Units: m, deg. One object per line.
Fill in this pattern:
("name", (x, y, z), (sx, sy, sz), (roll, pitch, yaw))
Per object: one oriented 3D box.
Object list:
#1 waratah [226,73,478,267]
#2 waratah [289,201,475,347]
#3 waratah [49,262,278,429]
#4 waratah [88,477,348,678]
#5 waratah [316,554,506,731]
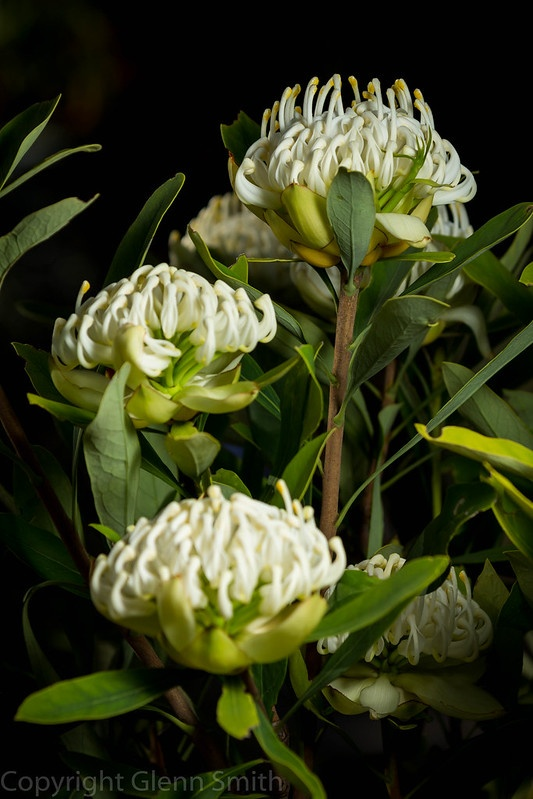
("waratah", (0.043, -0.123, 0.402), (0.116, 0.087, 0.124), (-2, 15, -29))
("waratah", (0.084, -0.132, 0.653), (0.129, 0.084, 0.117), (5, -17, -13))
("waratah", (-0.048, -0.034, 0.364), (0.093, 0.057, 0.079), (19, 32, 32))
("waratah", (-0.022, 0.073, 0.300), (0.095, 0.065, 0.100), (2, 2, 10))
("waratah", (0.073, 0.158, 0.444), (0.112, 0.057, 0.115), (0, 31, -5))
